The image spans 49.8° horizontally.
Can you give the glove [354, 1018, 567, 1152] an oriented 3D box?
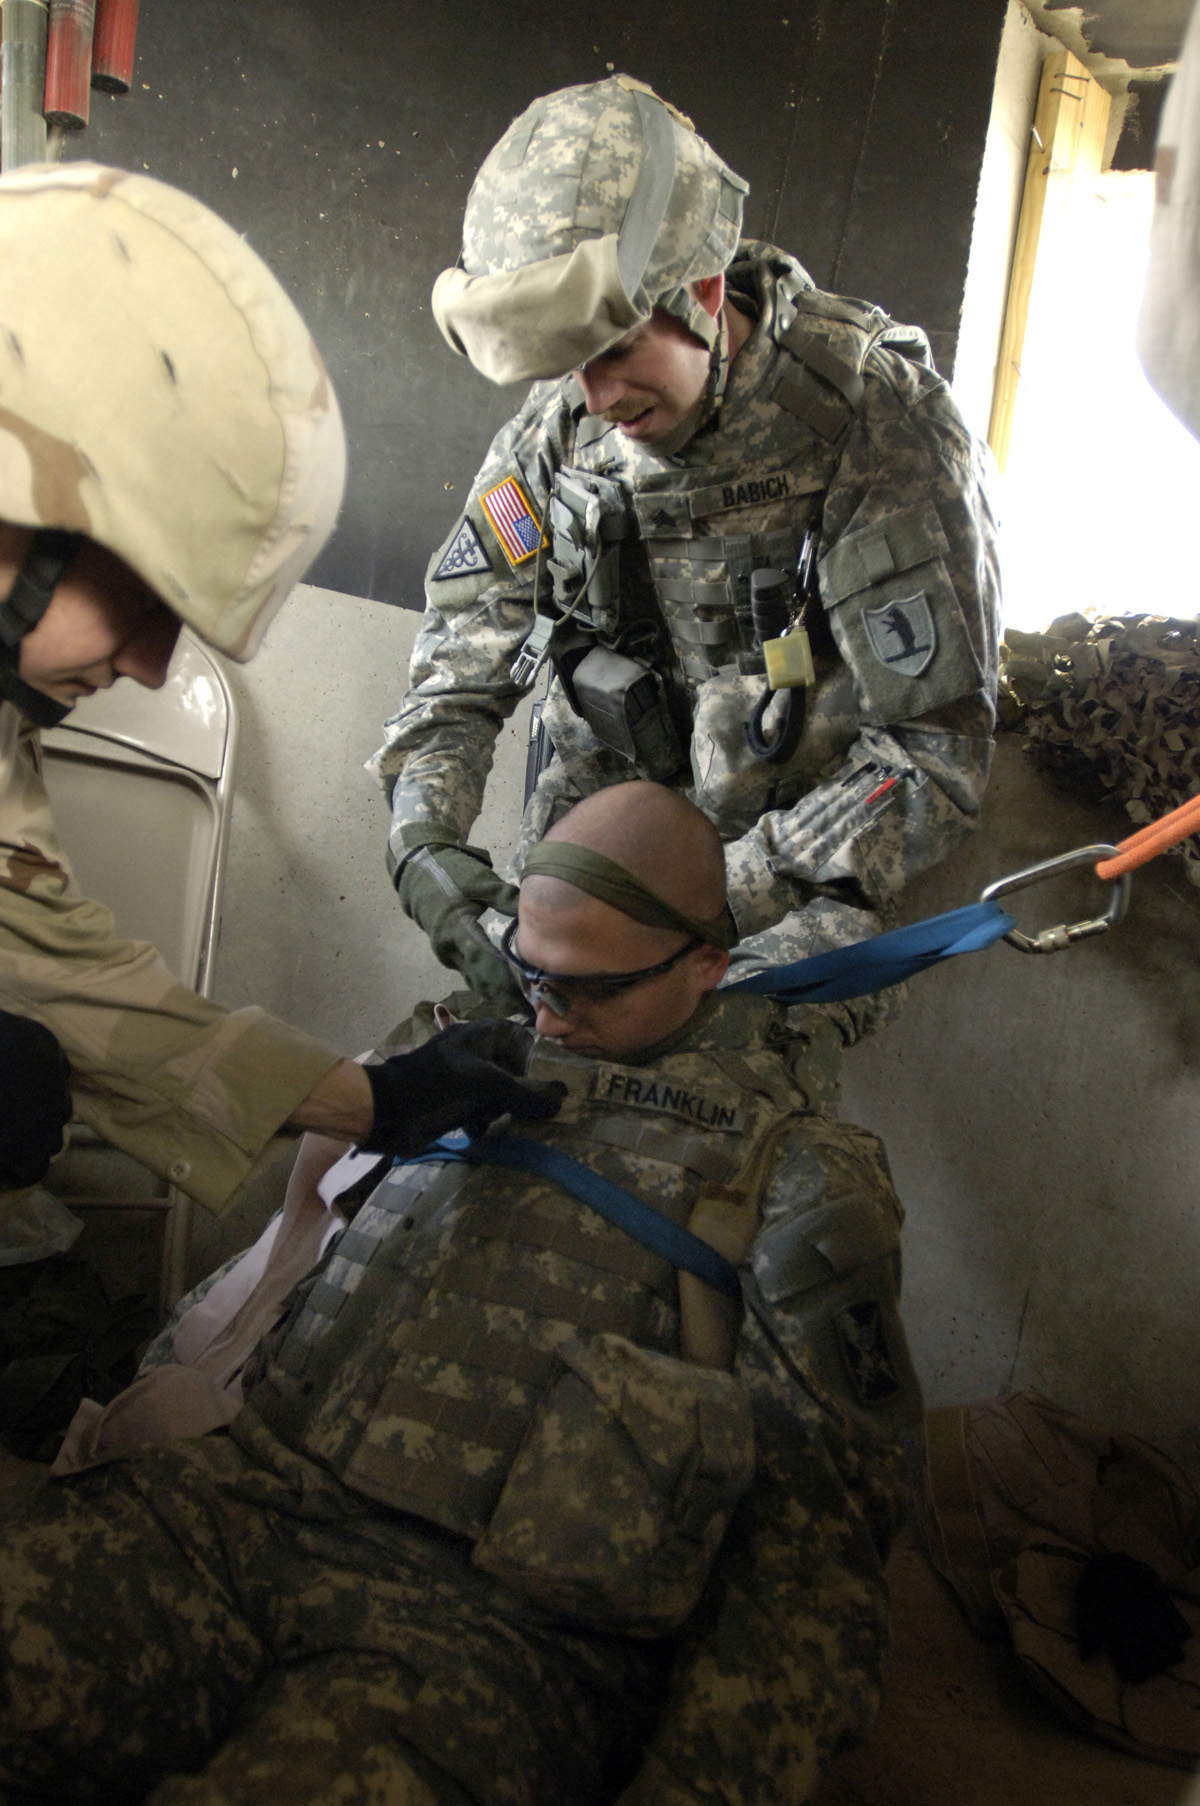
[{"bbox_3d":[-0.177,0.185,1.488,0.155,0.074,0.189,-22,-1,1],"label":"glove"}]
